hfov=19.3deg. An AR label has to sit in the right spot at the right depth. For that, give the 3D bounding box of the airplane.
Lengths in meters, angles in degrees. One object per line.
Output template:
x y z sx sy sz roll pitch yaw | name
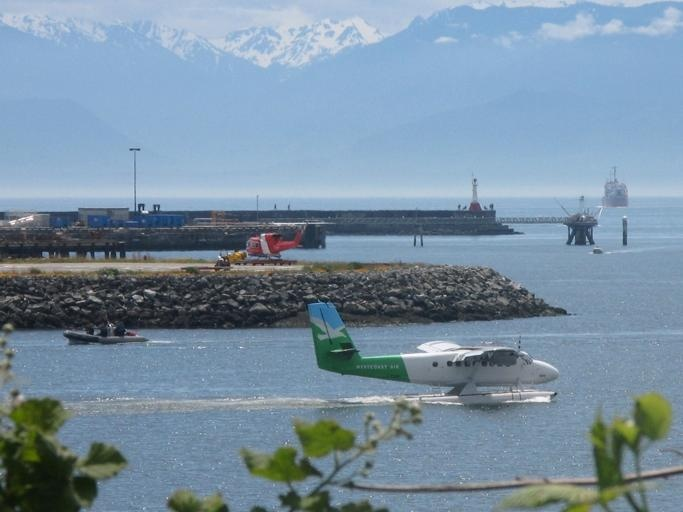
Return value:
7.204 7.676 156.364 17.629 5.604 1.632 -3 2 -3 | airplane

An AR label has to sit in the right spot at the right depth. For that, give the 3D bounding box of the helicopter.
-6.870 -1.174 206.978 9.251 3.314 9.585 3 8 36 | helicopter
